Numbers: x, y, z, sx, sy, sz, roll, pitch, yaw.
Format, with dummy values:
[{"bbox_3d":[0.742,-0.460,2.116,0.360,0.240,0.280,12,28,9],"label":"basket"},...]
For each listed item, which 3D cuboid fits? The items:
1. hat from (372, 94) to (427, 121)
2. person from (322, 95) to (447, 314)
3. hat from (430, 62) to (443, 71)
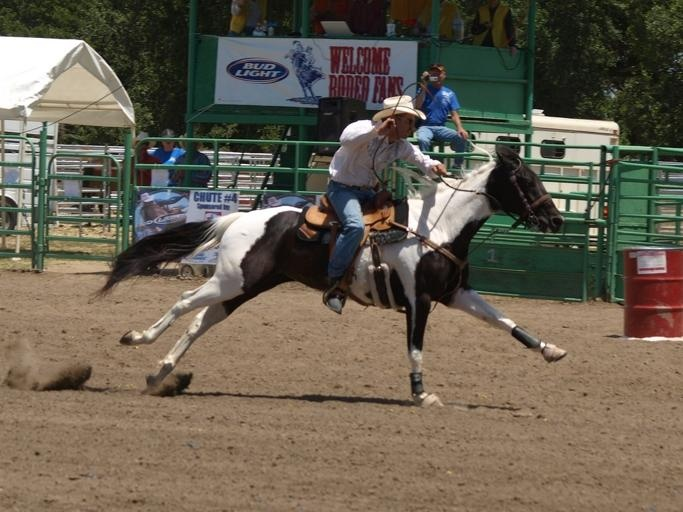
[{"bbox_3d":[0.676,-1.724,11.134,0.594,0.183,0.403,-2,0,5],"label":"hat"},{"bbox_3d":[0.392,-0.593,11.288,1.149,2.529,0.624,5,7,2],"label":"person"},{"bbox_3d":[1.633,-3.213,16.707,0.235,0.186,0.378,3,5,2],"label":"hat"}]
